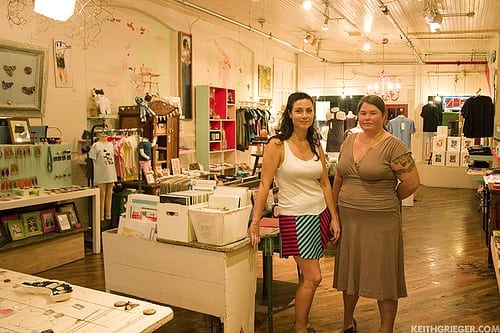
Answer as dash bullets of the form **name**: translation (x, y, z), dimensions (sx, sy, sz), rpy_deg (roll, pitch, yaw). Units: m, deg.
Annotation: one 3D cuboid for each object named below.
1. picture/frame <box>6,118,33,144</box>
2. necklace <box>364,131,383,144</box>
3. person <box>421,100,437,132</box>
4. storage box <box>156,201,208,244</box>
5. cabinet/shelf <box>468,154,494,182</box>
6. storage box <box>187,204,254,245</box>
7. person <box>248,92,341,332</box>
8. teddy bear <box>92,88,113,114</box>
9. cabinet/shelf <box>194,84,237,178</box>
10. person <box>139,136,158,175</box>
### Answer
- **picture/frame**: translation (-3.684, -0.568, 5.417), dimensions (0.031, 0.453, 0.395), rpy_deg (-12, 3, 25)
- **necklace**: translation (1.220, -0.278, 3.396), dimensions (0.117, 0.053, 0.131), rpy_deg (-36, 7, -37)
- **person**: translation (6.983, -1.951, 13.296), dimensions (0.640, 1.156, 0.438), rpy_deg (8, 13, 27)
- **storage box**: translation (-0.679, 0.472, 3.425), dimensions (0.357, 0.371, 0.492), rpy_deg (1, 1, 18)
- **cabinet/shelf**: translation (5.689, -0.004, 8.402), dimensions (0.374, 0.464, 0.690), rpy_deg (5, 11, 40)
- **storage box**: translation (-0.296, 0.526, 3.254), dimensions (0.348, 0.269, 0.465), rpy_deg (1, 3, 32)
- **person**: translation (0.469, 0.541, 3.497), dimensions (0.972, 2.563, 0.578), rpy_deg (2, 11, 0)
- **teddy bear**: translation (-2.951, -1.306, 6.761), dimensions (0.306, 0.505, 0.474), rpy_deg (-5, 13, -32)
- **cabinet/shelf**: translation (-0.975, -1.128, 9.482), dimensions (0.574, 2.194, 1.427), rpy_deg (8, 13, 31)
- **person**: translation (-2.136, -0.212, 7.003), dimensions (0.301, 0.774, 0.425), rpy_deg (1, 11, -3)
